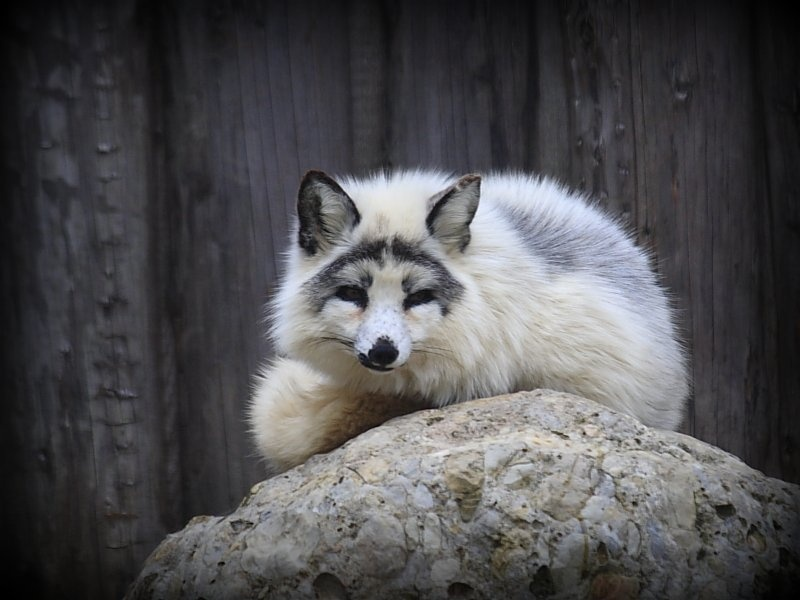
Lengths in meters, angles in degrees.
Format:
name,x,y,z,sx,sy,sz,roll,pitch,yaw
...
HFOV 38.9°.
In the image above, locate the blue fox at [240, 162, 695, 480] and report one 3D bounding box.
name,x,y,z,sx,sy,sz,roll,pitch,yaw
blue fox,0.461,0.083,6.105,2.008,1.407,1.491,2,-8,-43
